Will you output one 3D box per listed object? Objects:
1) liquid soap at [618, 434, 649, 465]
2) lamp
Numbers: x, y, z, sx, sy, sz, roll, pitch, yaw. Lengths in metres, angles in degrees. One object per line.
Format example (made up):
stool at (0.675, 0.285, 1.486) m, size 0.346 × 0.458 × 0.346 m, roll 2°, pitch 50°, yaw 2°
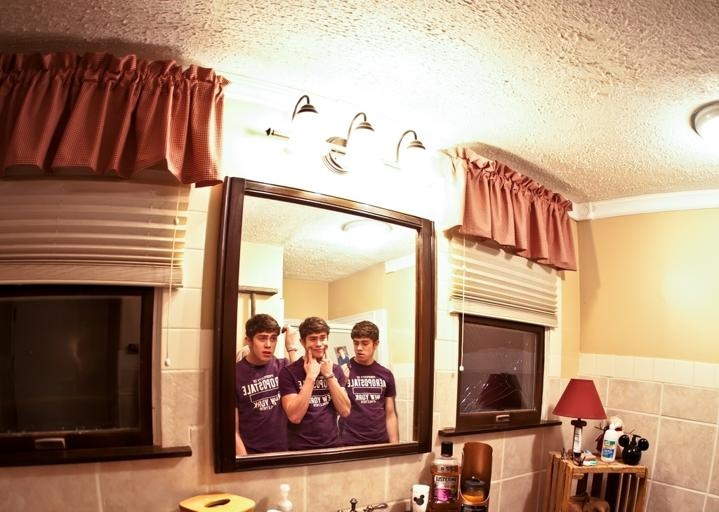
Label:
liquid soap at (1.640, 1.158, 3.212) m, size 0.106 × 0.175 × 0.163 m, roll 13°, pitch -10°, yaw -33°
lamp at (1.380, 0.985, 3.274) m, size 0.275 × 0.453 × 0.455 m, roll -8°, pitch -14°, yaw 42°
